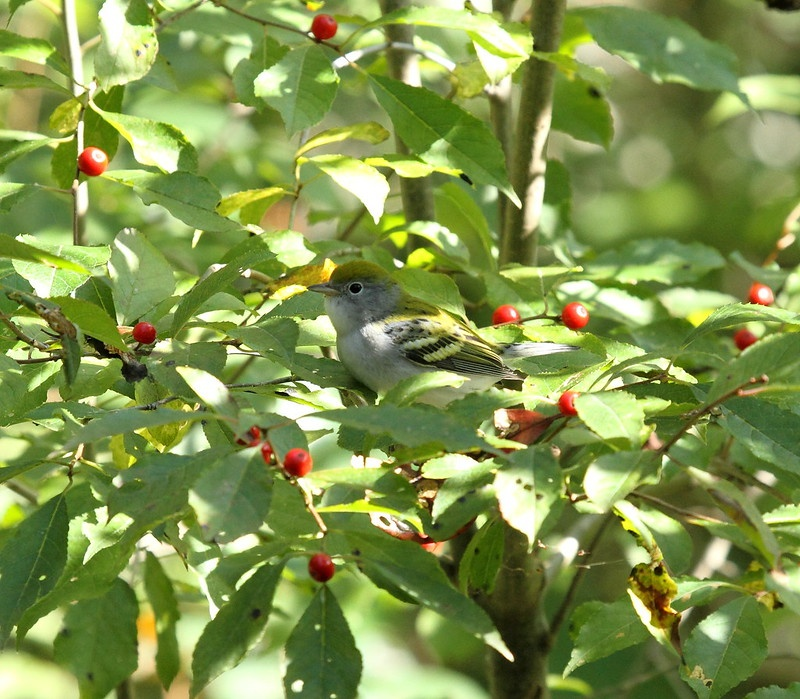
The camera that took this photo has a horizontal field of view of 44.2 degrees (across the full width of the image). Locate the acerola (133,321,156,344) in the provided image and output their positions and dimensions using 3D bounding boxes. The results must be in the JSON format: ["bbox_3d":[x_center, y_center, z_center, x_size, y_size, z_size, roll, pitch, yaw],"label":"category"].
[{"bbox_3d":[-0.960,-0.070,3.710,0.090,0.116,0.111,3,-32,-12],"label":"acerola"}]

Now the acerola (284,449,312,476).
[{"bbox_3d":[-0.325,0.367,3.221,0.110,0.077,0.104,-8,-23,-4],"label":"acerola"}]
